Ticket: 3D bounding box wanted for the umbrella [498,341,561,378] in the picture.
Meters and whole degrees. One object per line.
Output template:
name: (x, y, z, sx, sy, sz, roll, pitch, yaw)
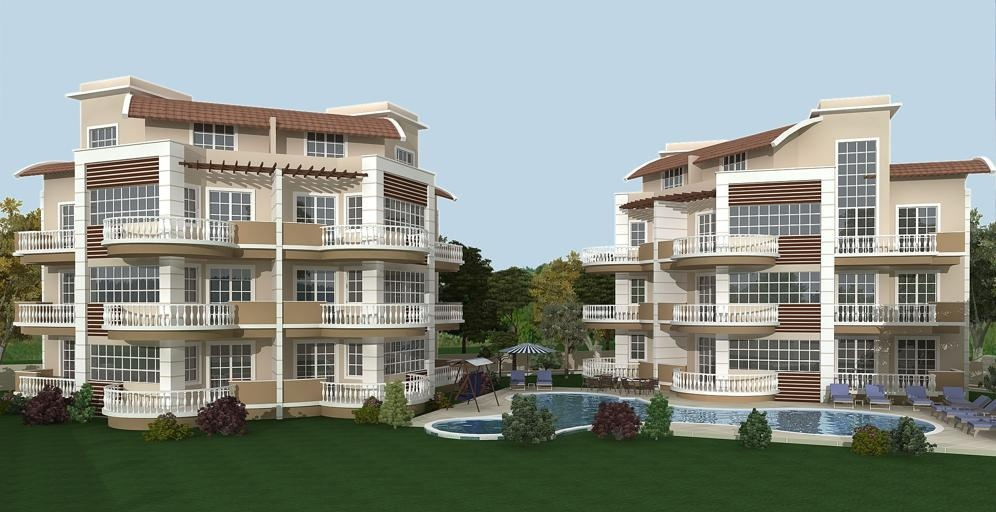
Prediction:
umbrella: (2.754, 8.439, 73.750, 4.675, 2.188, 4.013, 0, -1, 2)
